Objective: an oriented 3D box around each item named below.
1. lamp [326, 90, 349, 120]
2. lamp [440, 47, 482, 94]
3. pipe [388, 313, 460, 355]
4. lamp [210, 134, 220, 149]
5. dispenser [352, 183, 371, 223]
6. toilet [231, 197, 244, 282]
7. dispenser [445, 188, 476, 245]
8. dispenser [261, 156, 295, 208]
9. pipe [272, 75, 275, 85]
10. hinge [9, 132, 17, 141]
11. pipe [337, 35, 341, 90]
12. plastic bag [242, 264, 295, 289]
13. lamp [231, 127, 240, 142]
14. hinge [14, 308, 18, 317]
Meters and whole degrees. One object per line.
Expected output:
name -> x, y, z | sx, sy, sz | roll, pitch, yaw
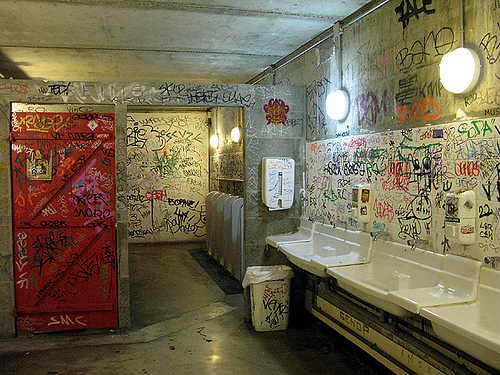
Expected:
lamp -> 0.909, -0.871, 3.836 | 0.065, 0.260, 0.270 | -3, 14, -35
lamp -> 1.471, -0.820, 2.569 | 0.073, 0.292, 0.301 | -11, 23, -36
pipe -> 1.306, 1.102, 2.715 | 0.074, 0.077, 0.527 | -3, 5, -26
lamp -> -0.743, -0.996, 7.862 | 0.116, 0.320, 0.408 | -3, 5, -17
dispenser -> 1.051, 0.155, 3.505 | 0.157, 0.397, 0.145 | -4, 6, -32
toilet -> -0.198, 0.831, 5.682 | 0.202, 1.255, 0.539 | -2, 5, -3
dispenser -> 1.469, 0.202, 2.570 | 0.196, 0.387, 0.111 | -2, 5, -12
dispenser -> 0.343, -0.064, 4.491 | 0.409, 0.606, 0.154 | -1, 5, -3
pipe -> 0.356, -1.648, 5.547 | 0.016, 0.136, 0.059 | -5, 6, -39
hinge -> -2.510, -0.554, 3.904 | 0.088, 0.075, 0.020 | -7, 4, -15
pipe -> 0.948, -1.343, 3.893 | 0.024, 0.572, 0.051 | 0, 5, 12
plastic bag -> 0.202, 0.964, 4.123 | 0.400, 0.161, 0.298 | -3, 1, 1
lamp -> -0.246, -0.937, 6.389 | 0.055, 0.205, 0.223 | -1, 0, -24
hinge -> -2.529, 1.364, 3.981 | 0.035, 0.097, 0.017 | -1, 5, 8
